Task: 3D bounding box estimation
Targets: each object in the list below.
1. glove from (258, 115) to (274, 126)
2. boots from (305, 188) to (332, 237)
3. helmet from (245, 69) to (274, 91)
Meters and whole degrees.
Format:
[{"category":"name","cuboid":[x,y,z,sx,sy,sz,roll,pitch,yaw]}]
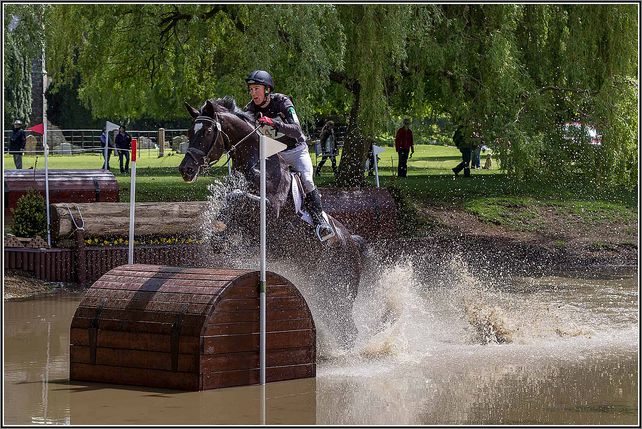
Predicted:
[{"category":"glove","cuboid":[-0.964,-1.655,18.794,0.199,0.106,0.154,-5,-2,43]},{"category":"boots","cuboid":[-0.032,0.012,19.560,0.233,0.863,0.459,-27,-2,13]},{"category":"helmet","cuboid":[-1.101,-2.411,19.169,0.412,0.368,0.327,-3,5,-33]}]
